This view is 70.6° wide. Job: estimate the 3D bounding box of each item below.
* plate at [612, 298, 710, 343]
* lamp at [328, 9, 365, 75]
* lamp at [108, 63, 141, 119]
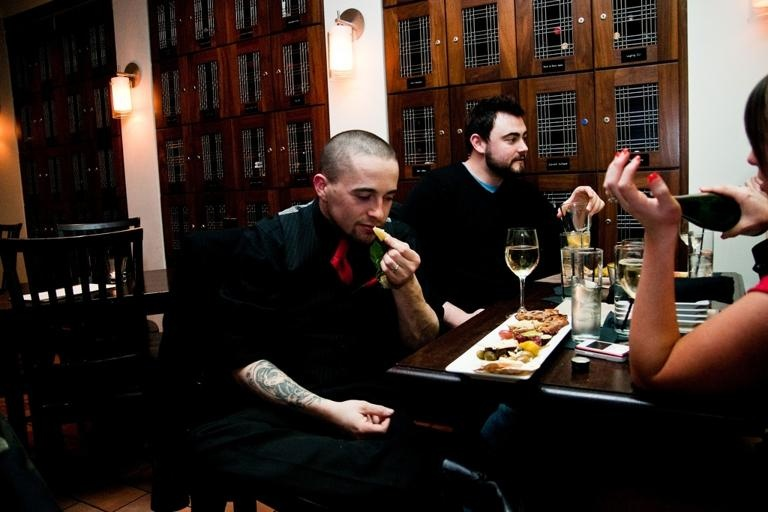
[{"bbox_3d":[0.958,0.210,1.916,0.219,0.074,0.206,-1,5,15],"label":"plate"},{"bbox_3d":[-0.299,-1.659,4.183,0.283,0.501,0.164,0,13,23],"label":"lamp"},{"bbox_3d":[-2.584,-1.671,5.417,0.204,0.470,0.235,24,27,28],"label":"lamp"}]
